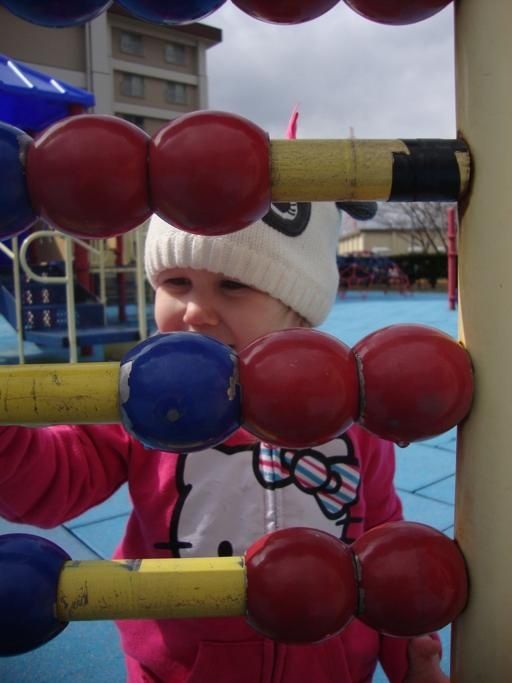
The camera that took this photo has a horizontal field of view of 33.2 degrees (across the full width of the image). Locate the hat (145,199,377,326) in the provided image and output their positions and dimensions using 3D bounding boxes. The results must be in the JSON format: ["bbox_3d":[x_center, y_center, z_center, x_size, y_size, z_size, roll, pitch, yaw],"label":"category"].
[{"bbox_3d":[0.003,-0.102,1.289,0.270,0.191,0.199,10,-4,-38],"label":"hat"}]
